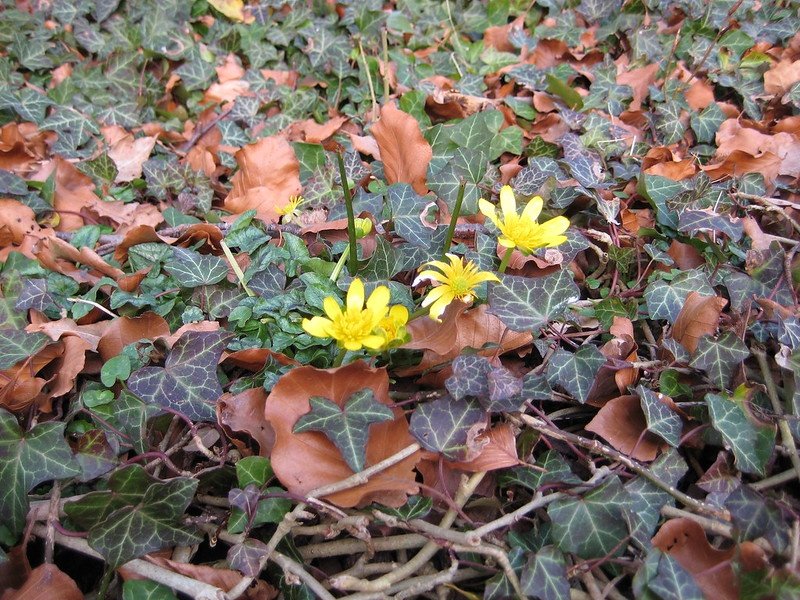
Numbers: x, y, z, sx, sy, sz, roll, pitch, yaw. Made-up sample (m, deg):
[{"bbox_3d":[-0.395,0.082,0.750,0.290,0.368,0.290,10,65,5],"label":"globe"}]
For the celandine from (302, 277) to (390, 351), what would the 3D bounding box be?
[{"bbox_3d":[-0.127,0.060,1.650,0.202,0.080,0.184,-31,69,-3],"label":"celandine"}]

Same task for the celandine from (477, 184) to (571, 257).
[{"bbox_3d":[0.350,-0.214,1.820,0.218,0.091,0.227,27,54,12],"label":"celandine"}]

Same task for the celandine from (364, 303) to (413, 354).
[{"bbox_3d":[-0.026,0.069,1.672,0.104,0.068,0.104,-3,72,-6],"label":"celandine"}]

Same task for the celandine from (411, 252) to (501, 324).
[{"bbox_3d":[0.165,-0.031,1.791,0.171,0.170,0.060,19,71,-38],"label":"celandine"}]

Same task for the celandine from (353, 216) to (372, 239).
[{"bbox_3d":[-0.118,-0.232,1.996,0.062,0.057,0.052,16,27,35],"label":"celandine"}]

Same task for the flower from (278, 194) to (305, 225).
[{"bbox_3d":[-0.391,-0.323,2.282,0.096,0.035,0.096,-43,22,-8],"label":"flower"}]
